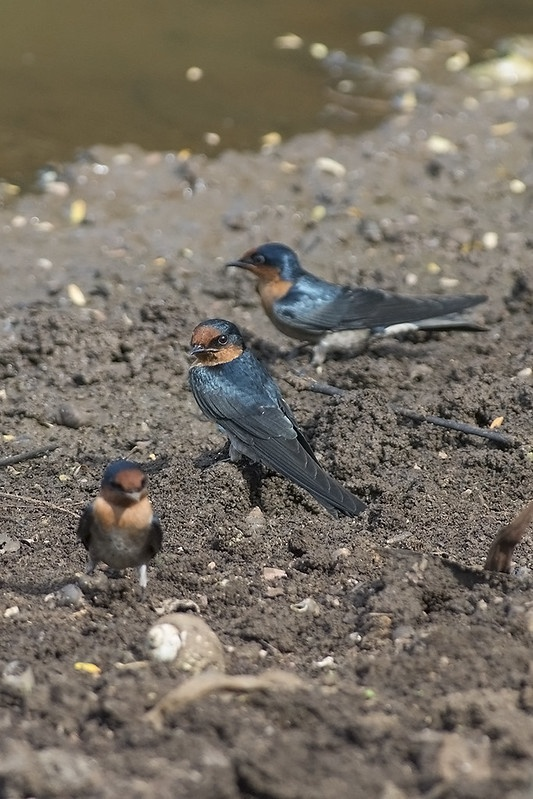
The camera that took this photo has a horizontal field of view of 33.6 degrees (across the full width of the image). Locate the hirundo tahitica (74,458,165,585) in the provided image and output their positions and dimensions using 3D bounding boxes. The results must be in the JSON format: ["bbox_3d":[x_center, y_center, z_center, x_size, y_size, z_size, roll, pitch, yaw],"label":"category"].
[{"bbox_3d":[-0.646,0.586,4.001,0.356,0.677,0.241,22,41,26],"label":"hirundo tahitica"}]
